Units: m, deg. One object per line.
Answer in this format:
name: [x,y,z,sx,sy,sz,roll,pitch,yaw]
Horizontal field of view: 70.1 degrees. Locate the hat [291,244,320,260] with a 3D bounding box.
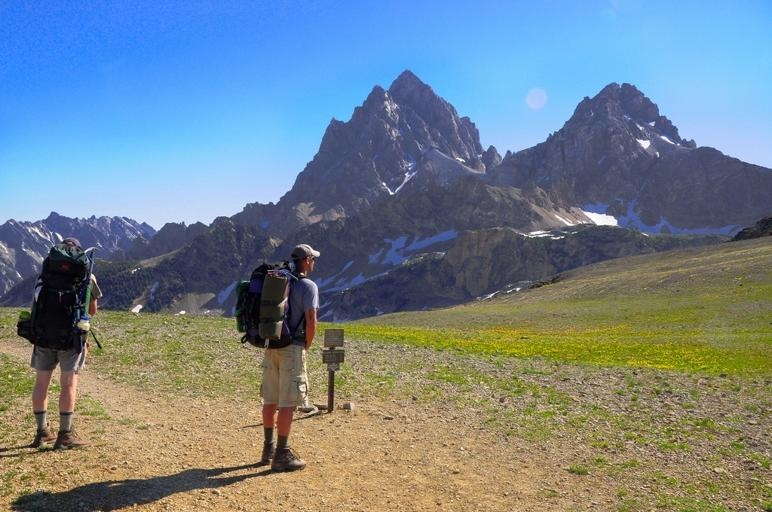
hat: [-2.850,-0.159,20.269,0.835,0.404,0.584,-6,10,-37]

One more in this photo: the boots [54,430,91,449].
boots: [-11.381,6.751,20.330,1.345,0.546,0.476,2,-1,-26]
